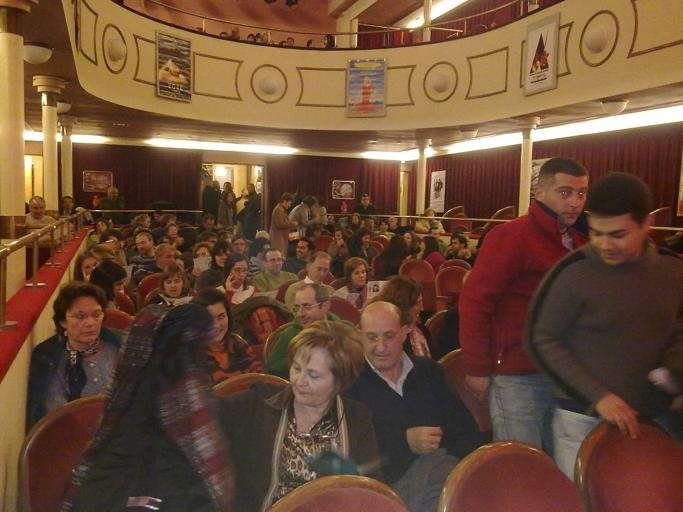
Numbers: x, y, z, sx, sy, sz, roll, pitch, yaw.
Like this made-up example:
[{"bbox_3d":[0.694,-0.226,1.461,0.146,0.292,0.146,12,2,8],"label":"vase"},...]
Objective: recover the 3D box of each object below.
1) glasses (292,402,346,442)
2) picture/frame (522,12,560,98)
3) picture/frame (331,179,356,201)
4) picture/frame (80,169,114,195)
[{"bbox_3d":[-0.115,0.680,2.162,0.208,0.125,0.063,-4,12,-9],"label":"glasses"},{"bbox_3d":[3.900,-3.903,10.368,0.163,1.413,0.922,-5,12,-15],"label":"picture/frame"},{"bbox_3d":[0.005,-2.483,19.681,0.658,0.595,0.091,2,-4,-18],"label":"picture/frame"},{"bbox_3d":[-7.641,-2.289,16.437,0.903,0.829,0.096,-3,9,-30],"label":"picture/frame"}]
